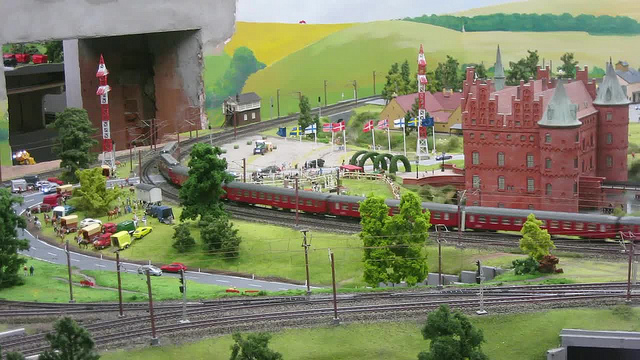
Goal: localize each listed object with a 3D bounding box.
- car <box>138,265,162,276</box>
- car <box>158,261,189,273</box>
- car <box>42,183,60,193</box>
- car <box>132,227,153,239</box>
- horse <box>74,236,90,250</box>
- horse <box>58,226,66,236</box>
[{"bbox_3d":[-30.528,16.589,192.386,3.957,1.771,2.444,-3,3,-21],"label":"car"},{"bbox_3d":[-26.494,15.973,193.148,4.312,1.144,2.117,4,6,7],"label":"car"},{"bbox_3d":[-55.826,1.740,219.741,3.016,1.684,2.160,-4,3,-29],"label":"car"},{"bbox_3d":[-33.605,10.072,201.592,1.616,0.948,3.222,8,18,27],"label":"car"},{"bbox_3d":[-44.722,12.015,200.008,2.451,2.102,1.041,-2,3,6],"label":"horse"},{"bbox_3d":[-49.061,9.716,202.266,1.340,1.515,0.856,-3,3,-11],"label":"horse"}]
